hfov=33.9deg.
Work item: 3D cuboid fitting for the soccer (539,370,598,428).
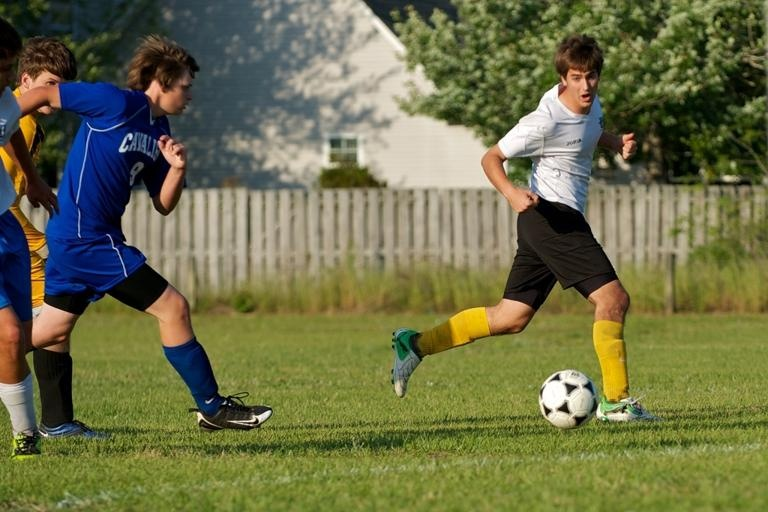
[{"bbox_3d":[1.621,1.268,11.087,0.517,0.514,0.495,-13,15,-40],"label":"soccer"}]
